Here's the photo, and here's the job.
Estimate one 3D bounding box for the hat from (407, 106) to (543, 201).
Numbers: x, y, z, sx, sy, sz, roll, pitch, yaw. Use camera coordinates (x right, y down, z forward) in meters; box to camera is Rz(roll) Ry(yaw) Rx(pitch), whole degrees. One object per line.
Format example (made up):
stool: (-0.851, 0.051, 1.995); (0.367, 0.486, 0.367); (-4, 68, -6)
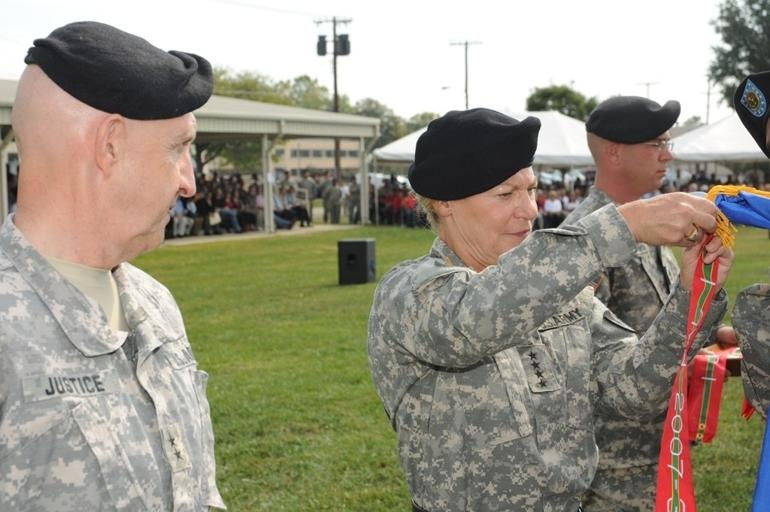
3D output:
hat: (0.343, -0.438, 3.856); (0.533, 0.330, 0.402); (-2, -3, 25)

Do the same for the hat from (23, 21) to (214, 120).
hat: (-0.975, -0.688, 3.581); (0.700, 0.283, 0.761); (18, 16, 30)
